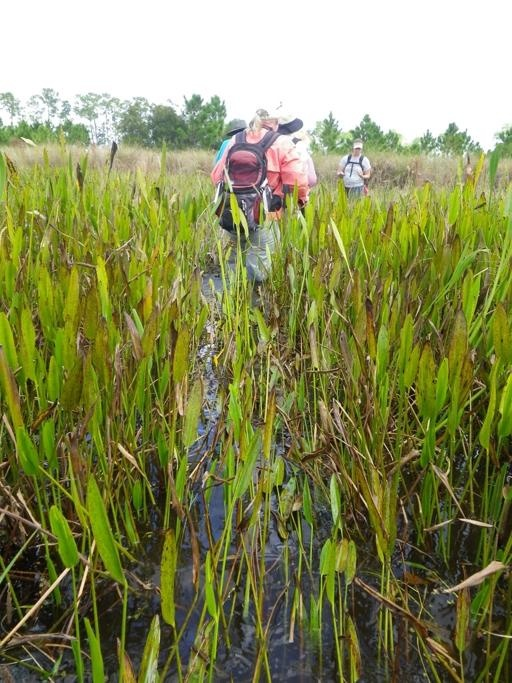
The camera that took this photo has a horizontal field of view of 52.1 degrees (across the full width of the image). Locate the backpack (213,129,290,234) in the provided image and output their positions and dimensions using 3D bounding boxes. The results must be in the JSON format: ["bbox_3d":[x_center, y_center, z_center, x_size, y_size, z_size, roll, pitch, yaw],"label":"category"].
[{"bbox_3d":[-0.027,-0.995,3.427,0.261,0.749,0.473,2,7,28],"label":"backpack"}]

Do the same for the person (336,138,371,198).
[{"bbox_3d":[1.429,-2.382,7.705,0.322,1.085,0.369,20,30,39],"label":"person"}]
